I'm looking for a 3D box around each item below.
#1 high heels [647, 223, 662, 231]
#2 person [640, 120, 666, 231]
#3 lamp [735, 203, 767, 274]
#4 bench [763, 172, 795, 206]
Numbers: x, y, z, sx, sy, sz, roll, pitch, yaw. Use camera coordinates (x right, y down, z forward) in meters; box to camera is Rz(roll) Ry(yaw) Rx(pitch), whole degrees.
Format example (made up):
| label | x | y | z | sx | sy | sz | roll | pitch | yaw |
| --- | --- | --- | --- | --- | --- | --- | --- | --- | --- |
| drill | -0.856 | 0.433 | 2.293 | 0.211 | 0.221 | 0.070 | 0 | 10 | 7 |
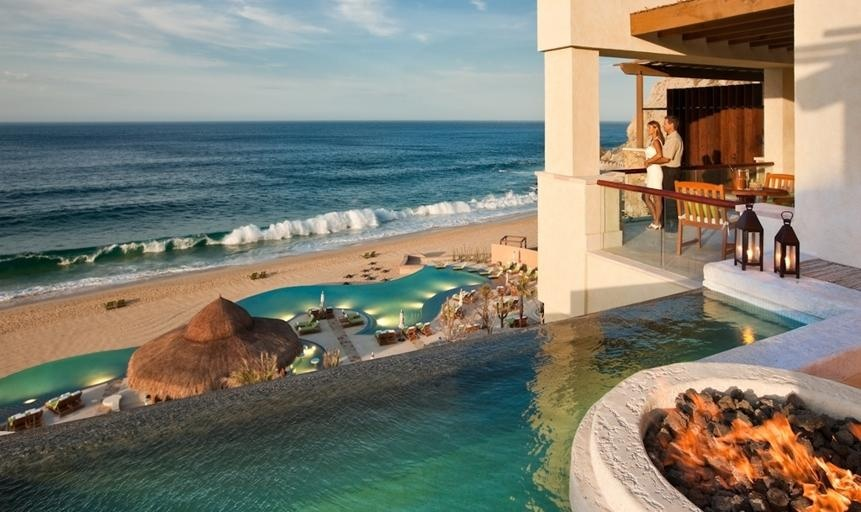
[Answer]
| label | x | y | z | sx | sy | sz | roll | pitch | yaw |
| --- | --- | --- | --- | --- | --- | --- | --- | --- | --- |
| high heels | 4.314 | -0.551 | 9.254 | 0.142 | 0.127 | 0.369 | -4 | 11 | -20 |
| person | 4.243 | -1.522 | 9.159 | 0.371 | 2.072 | 1.155 | -2 | 15 | 26 |
| lamp | 4.518 | -0.274 | 6.801 | 0.354 | 0.925 | 0.542 | -1 | 15 | 28 |
| bench | 7.430 | -1.413 | 10.218 | 0.494 | 0.638 | 0.832 | 1 | 14 | 32 |
